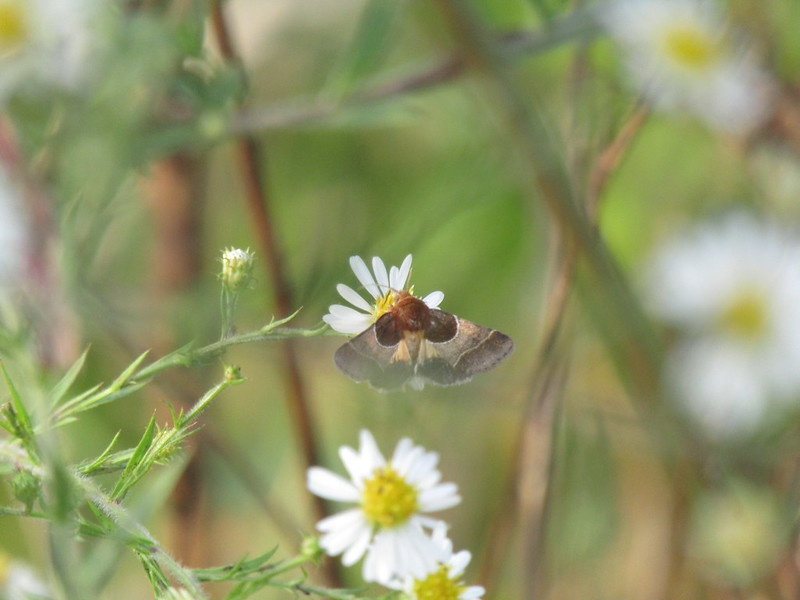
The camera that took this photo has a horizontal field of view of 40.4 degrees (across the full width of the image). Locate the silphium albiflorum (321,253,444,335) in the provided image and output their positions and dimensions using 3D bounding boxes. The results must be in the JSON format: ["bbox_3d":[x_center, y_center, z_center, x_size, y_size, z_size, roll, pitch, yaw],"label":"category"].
[{"bbox_3d":[-0.036,-0.004,1.236,0.103,0.092,0.048,0,-1,-8],"label":"silphium albiflorum"}]

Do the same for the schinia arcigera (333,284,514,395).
[{"bbox_3d":[0.037,-0.009,1.282,0.254,0.134,0.173,6,14,18],"label":"schinia arcigera"}]
